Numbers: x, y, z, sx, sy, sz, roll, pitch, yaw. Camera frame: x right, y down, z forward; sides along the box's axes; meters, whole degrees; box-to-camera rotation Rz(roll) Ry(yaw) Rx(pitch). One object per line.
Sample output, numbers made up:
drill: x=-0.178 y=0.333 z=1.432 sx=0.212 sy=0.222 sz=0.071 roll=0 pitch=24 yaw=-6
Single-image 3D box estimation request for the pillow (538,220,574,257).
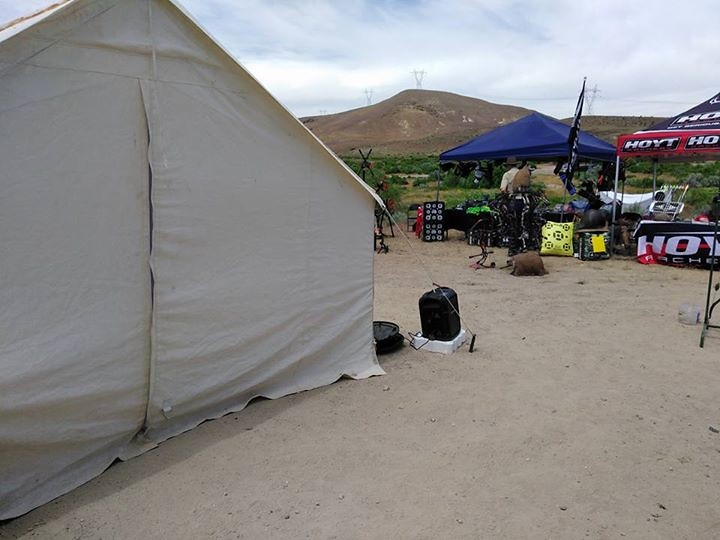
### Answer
pillow: x=3.951 y=-0.637 z=12.802 sx=0.722 sy=0.645 sz=0.208 roll=2 pitch=-10 yaw=9
